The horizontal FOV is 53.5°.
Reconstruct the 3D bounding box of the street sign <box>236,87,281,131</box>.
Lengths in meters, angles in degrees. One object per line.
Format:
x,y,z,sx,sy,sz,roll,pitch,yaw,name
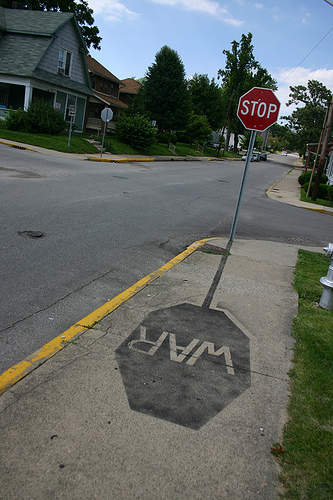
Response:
2.003,-3.011,7.127,0.889,1.008,0.082,12,-8,11,street sign

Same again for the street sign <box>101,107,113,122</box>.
-4.333,-9.762,23.928,0.742,0.895,0.964,2,13,-16,street sign
